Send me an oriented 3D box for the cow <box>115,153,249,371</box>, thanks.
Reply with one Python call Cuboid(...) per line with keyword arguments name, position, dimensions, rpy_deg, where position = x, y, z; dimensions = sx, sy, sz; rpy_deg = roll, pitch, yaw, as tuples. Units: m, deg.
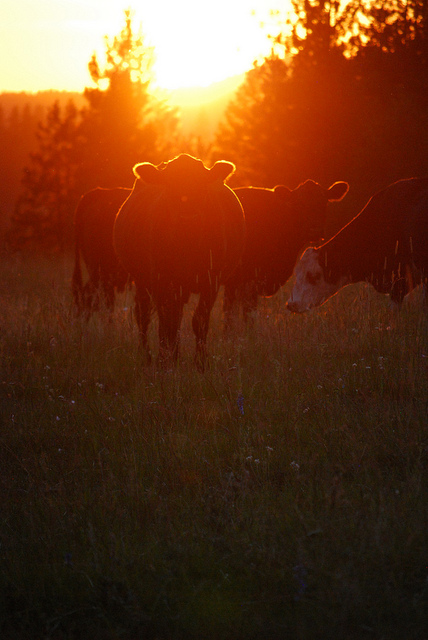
Cuboid(name="cow", position=(-0.245, -0.496, 7.078), dimensions=(0.942, 1.522, 0.859), rpy_deg=(-2, 10, -4))
